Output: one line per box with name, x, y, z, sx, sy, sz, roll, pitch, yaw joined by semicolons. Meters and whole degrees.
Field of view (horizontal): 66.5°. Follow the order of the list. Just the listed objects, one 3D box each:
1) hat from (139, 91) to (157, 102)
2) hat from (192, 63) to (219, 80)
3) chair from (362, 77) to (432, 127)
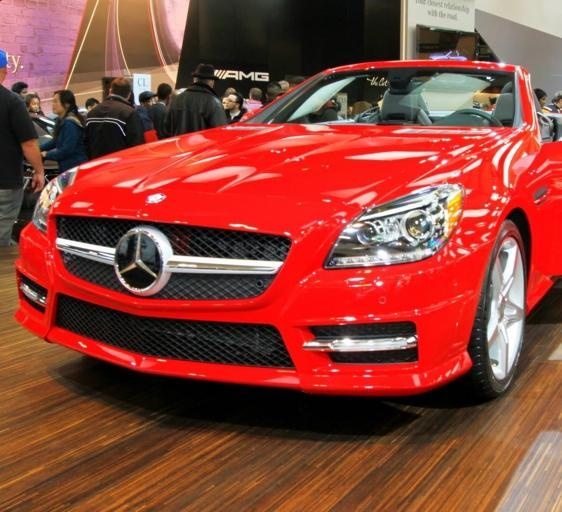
hat;-2.458;-2.958;7.985;0.321;0.140;0.223;-30;19;-19
hat;-0.906;-2.316;5.359;0.299;0.094;0.292;5;15;5
chair;0.729;-0.958;2.675;0.362;0.186;0.518;2;7;21
